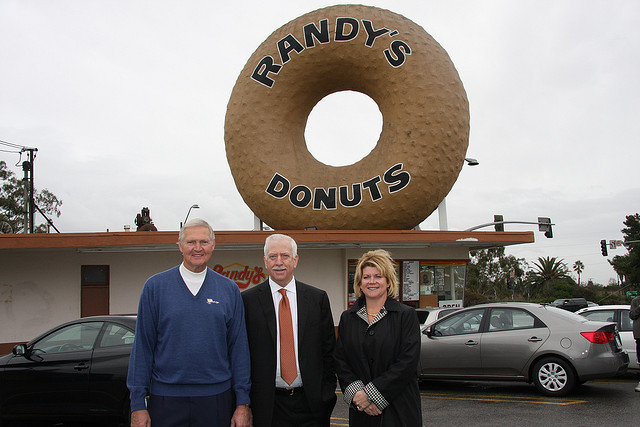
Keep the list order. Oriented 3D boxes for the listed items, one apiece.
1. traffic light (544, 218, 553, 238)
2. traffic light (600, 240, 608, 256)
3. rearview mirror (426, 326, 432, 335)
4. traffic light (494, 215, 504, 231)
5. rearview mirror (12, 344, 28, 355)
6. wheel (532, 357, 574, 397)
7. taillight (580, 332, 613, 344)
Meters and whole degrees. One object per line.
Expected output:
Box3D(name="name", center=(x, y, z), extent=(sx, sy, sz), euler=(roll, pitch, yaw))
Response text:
Box3D(name="traffic light", center=(13.300, 0.855, 26.945), extent=(0.256, 1.140, 2.277), euler=(0, -4, 24))
Box3D(name="traffic light", center=(22.000, 2.679, 36.014), extent=(0.293, 1.185, 3.580), euler=(0, -4, 31))
Box3D(name="rearview mirror", center=(2.571, 2.724, 10.831), extent=(0.148, 0.154, 0.050), euler=(-34, -29, 22))
Box3D(name="traffic light", center=(9.458, 0.555, 24.480), extent=(0.370, 0.868, 6.424), euler=(1, -4, 21))
Box3D(name="rearview mirror", center=(-5.251, 2.424, 8.296), extent=(0.203, 0.217, 0.199), euler=(13, -10, -25))
Box3D(name="wheel", center=(4.910, 3.409, 9.719), extent=(0.838, 0.918, 0.310), euler=(-2, -1, 33))
Box3D(name="taillight", center=(5.785, 2.588, 9.675), extent=(0.700, 0.224, 0.191), euler=(3, -3, -16))
